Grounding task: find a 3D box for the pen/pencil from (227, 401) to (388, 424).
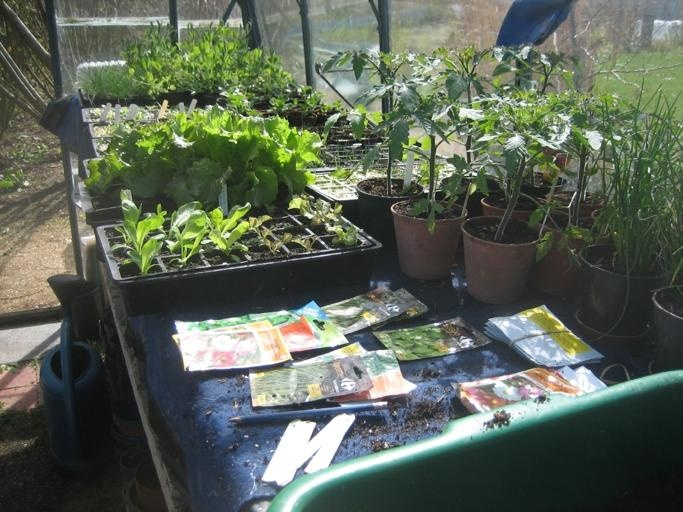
[{"bbox_3d":[-0.063,0.317,1.025,0.321,0.015,0.027,-4,23,-8],"label":"pen/pencil"}]
